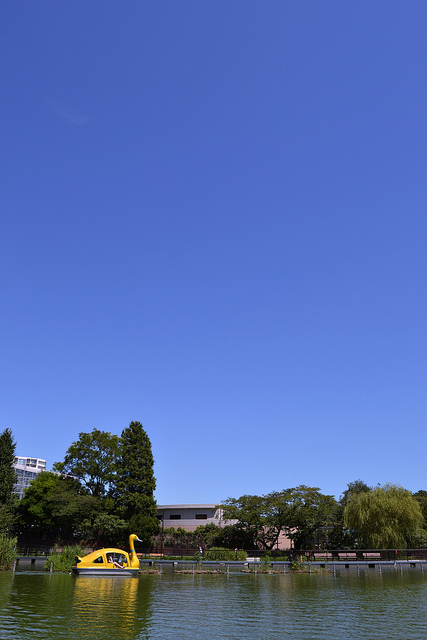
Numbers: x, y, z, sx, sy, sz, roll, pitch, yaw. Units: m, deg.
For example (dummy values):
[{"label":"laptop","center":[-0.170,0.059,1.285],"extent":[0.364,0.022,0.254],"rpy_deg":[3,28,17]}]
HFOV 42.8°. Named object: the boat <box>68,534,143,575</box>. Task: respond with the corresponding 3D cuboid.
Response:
[{"label":"boat","center":[-5.778,13.231,30.187],"extent":[4.782,2.888,1.658],"rpy_deg":[8,-28,-20]}]
